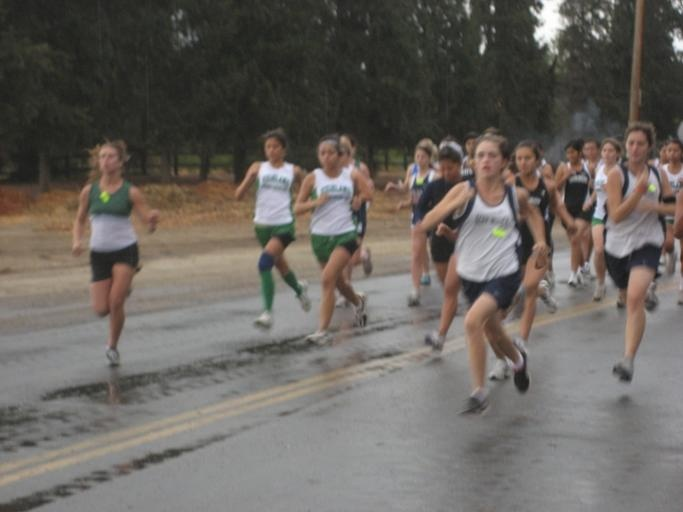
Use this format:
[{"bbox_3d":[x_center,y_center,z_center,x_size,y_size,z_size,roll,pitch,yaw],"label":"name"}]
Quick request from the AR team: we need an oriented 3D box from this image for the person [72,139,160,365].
[{"bbox_3d":[-2.259,-0.059,7.674,0.709,2.126,0.847,-6,11,-29],"label":"person"}]

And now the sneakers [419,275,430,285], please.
[{"bbox_3d":[1.396,0.389,12.646,0.173,0.162,0.266,-4,6,6],"label":"sneakers"}]

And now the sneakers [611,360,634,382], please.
[{"bbox_3d":[2.416,0.983,6.552,0.156,0.178,0.147,-4,23,25],"label":"sneakers"}]

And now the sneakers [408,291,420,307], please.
[{"bbox_3d":[1.006,0.598,10.638,0.176,0.220,0.140,1,-14,10],"label":"sneakers"}]
